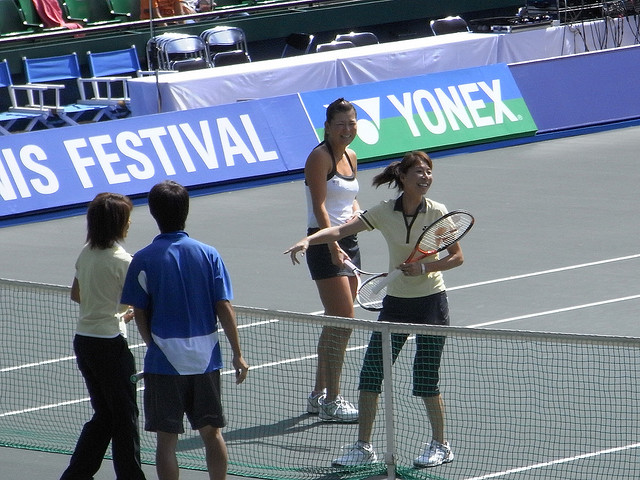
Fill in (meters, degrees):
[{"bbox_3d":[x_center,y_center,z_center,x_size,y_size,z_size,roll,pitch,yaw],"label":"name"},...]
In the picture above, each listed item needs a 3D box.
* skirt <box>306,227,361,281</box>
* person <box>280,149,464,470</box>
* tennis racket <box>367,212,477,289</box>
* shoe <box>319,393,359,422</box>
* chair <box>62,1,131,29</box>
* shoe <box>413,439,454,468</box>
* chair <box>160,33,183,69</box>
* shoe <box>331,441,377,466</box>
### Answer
[{"bbox_3d":[0.120,0.123,8.916,0.255,0.402,0.435,-3,9,36],"label":"skirt"},{"bbox_3d":[0.644,0.552,8.383,1.045,2.467,1.380,-2,11,7],"label":"person"},{"bbox_3d":[0.872,0.023,8.323,0.724,0.538,0.498,-2,10,6],"label":"tennis racket"},{"bbox_3d":[0.163,1.474,8.927,0.406,0.216,0.153,2,3,-1],"label":"shoe"},{"bbox_3d":[-5.319,-5.327,24.516,0.964,0.861,0.713,-10,20,-28],"label":"chair"},{"bbox_3d":[0.909,1.699,8.201,0.386,0.170,0.154,-6,4,-32],"label":"shoe"},{"bbox_3d":[-3.201,-3.855,21.638,0.426,0.517,0.206,1,3,-20],"label":"chair"},{"bbox_3d":[0.303,1.733,8.357,0.441,0.189,0.157,-1,-6,9],"label":"shoe"}]
